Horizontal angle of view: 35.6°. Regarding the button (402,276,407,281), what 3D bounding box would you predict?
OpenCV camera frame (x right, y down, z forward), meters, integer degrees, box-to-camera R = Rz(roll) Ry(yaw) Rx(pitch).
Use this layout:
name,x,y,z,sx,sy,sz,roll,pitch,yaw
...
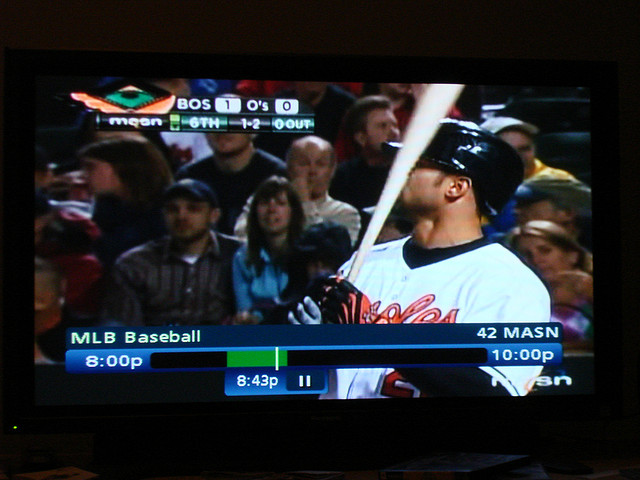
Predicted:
name,x,y,z,sx,sy,sz,roll,pitch,yaw
button,0.294,0.135,3.463,0.022,0.018,0.005,1,0,4

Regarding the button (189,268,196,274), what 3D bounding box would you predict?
name,x,y,z,sx,sy,sz,roll,pitch,yaw
button,-0.443,0.109,3.430,0.026,0.021,0.006,-1,-1,-3
